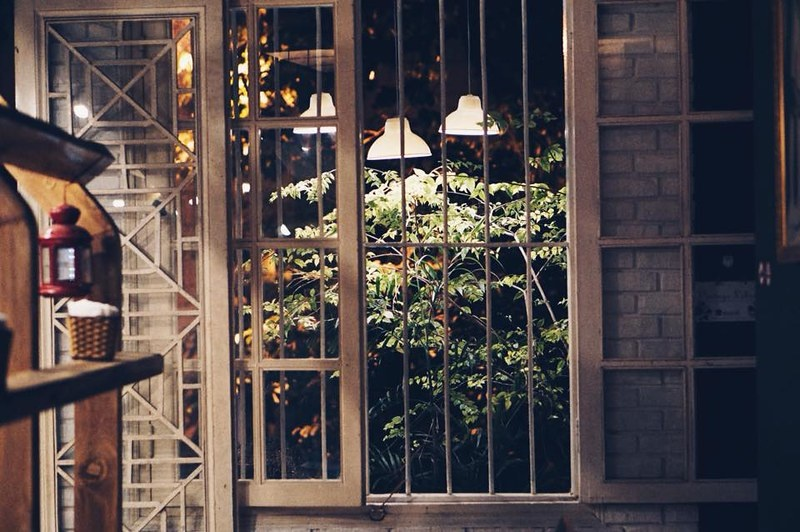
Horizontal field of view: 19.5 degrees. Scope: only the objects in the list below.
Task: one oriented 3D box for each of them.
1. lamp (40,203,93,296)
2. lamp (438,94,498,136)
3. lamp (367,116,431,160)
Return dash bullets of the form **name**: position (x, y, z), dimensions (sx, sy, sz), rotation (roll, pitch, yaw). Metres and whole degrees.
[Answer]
- **lamp**: position (-1.611, -0.081, 11.233), dimensions (0.316, 0.481, 0.297), rotation (1, 3, -7)
- **lamp**: position (0.376, -0.817, 12.468), dimensions (0.274, 0.159, 0.247), rotation (3, 7, 24)
- **lamp**: position (0.001, -0.688, 12.629), dimensions (0.385, 0.212, 0.390), rotation (-6, -4, 37)
